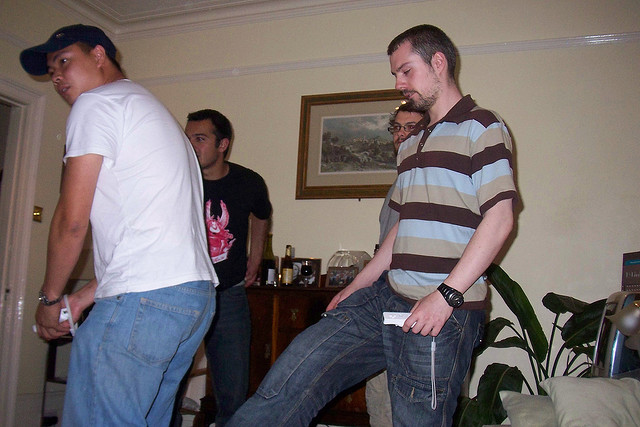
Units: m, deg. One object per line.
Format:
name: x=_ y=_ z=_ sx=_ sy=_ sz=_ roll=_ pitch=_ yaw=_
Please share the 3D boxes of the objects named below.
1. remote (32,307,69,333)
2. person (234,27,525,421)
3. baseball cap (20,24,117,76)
remote: x=-1.190 y=0.464 z=2.053 sx=0.041 sy=0.114 sz=0.113 roll=27 pitch=-13 yaw=-3
person: x=0.332 y=0.018 z=2.145 sx=0.981 sy=1.368 sz=0.486 roll=3 pitch=-1 yaw=-4
baseball cap: x=-1.223 y=-0.750 z=2.272 sx=0.445 sy=0.246 sz=0.286 roll=1 pitch=-6 yaw=-24
